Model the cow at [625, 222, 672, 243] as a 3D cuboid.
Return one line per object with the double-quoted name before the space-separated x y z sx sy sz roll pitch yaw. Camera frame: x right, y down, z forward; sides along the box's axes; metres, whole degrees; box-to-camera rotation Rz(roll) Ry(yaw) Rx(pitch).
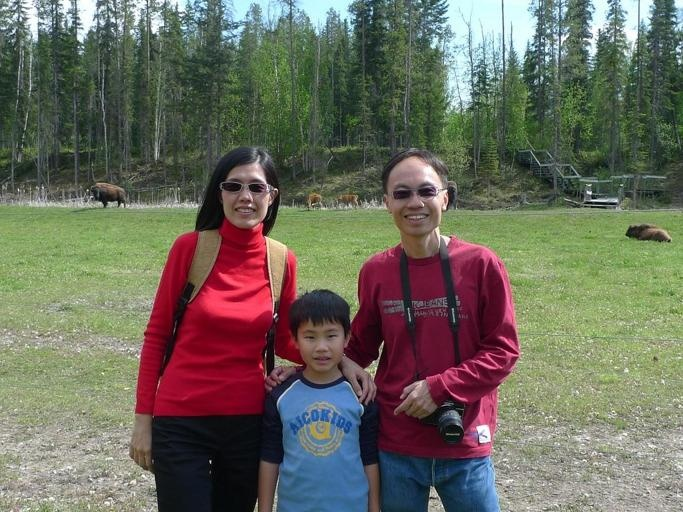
"cow" 9.824 -0.758 24.430 0.518 0.560 1.442 -2 6 -23
